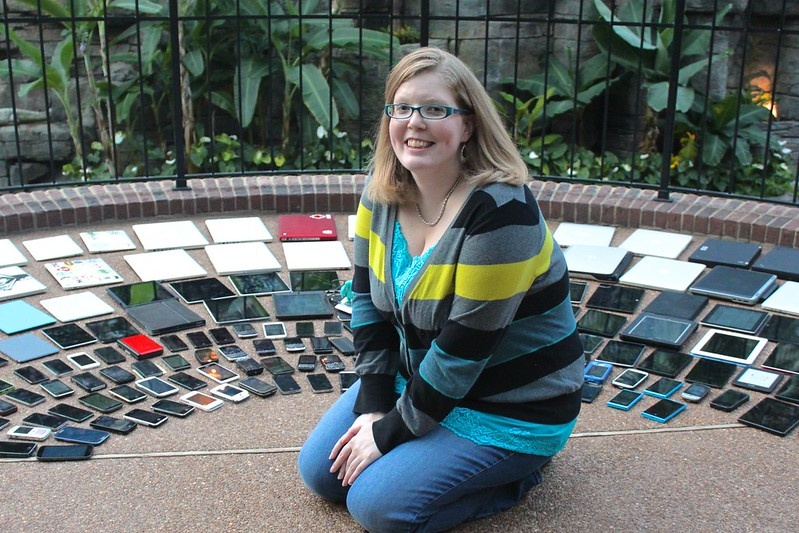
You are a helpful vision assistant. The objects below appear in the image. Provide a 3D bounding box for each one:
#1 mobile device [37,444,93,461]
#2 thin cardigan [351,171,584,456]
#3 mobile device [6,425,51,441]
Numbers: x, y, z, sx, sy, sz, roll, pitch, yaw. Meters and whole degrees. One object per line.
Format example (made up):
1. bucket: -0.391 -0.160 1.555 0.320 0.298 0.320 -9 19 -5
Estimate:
1. mobile device: -1.608 0.891 2.752 0.187 0.022 0.096 1 14 -5
2. thin cardigan: 0.250 0.168 2.588 1.088 1.112 1.103 -6 12 -27
3. mobile device: -1.861 0.828 2.875 0.160 0.025 0.086 6 19 12
